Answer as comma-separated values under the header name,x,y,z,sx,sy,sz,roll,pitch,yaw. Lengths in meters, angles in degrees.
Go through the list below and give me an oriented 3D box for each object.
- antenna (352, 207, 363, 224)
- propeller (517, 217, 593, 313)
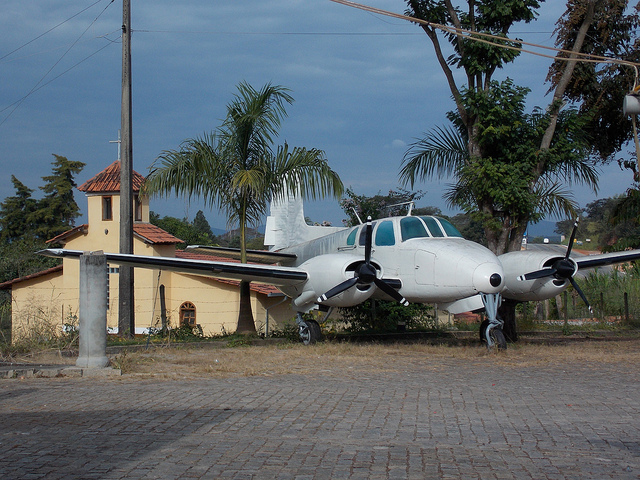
name,x,y,z,sx,sy,sz,roll,pitch,yaw
antenna,0.911,-0.609,18.189,0.042,0.416,0.147,-38,-22,22
propeller,5.281,0.652,15.782,0.298,1.916,1.964,27,-30,-13
